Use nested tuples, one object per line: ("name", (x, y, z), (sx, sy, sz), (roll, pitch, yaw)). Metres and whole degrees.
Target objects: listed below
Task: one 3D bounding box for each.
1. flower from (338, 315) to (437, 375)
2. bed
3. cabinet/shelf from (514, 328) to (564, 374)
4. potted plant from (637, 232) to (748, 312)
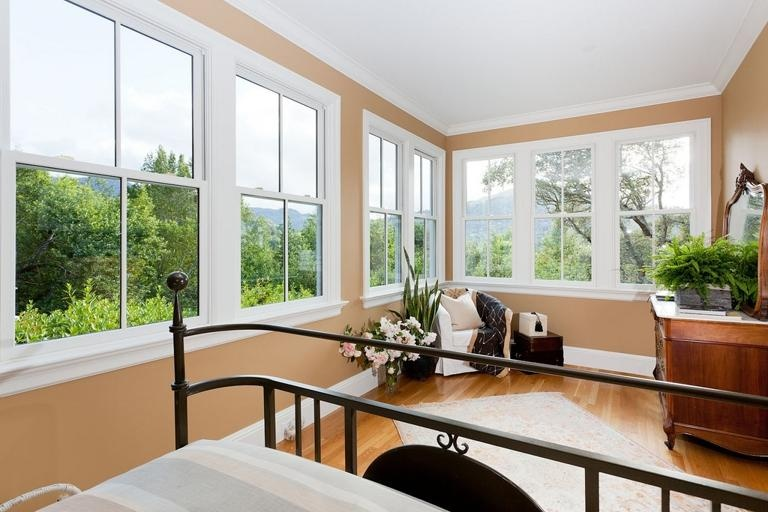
("flower", (0.013, 0.846, 4.748), (0.781, 0.523, 0.745), (0, -5, -37))
("bed", (0.276, 0.600, 2.340), (2.746, 1.068, 0.583), (0, 3, 19))
("cabinet/shelf", (1.678, 1.036, 5.497), (0.526, 0.359, 0.508), (1, -3, -13))
("potted plant", (2.594, 0.113, 4.014), (0.672, 0.428, 0.749), (-8, -15, 37))
